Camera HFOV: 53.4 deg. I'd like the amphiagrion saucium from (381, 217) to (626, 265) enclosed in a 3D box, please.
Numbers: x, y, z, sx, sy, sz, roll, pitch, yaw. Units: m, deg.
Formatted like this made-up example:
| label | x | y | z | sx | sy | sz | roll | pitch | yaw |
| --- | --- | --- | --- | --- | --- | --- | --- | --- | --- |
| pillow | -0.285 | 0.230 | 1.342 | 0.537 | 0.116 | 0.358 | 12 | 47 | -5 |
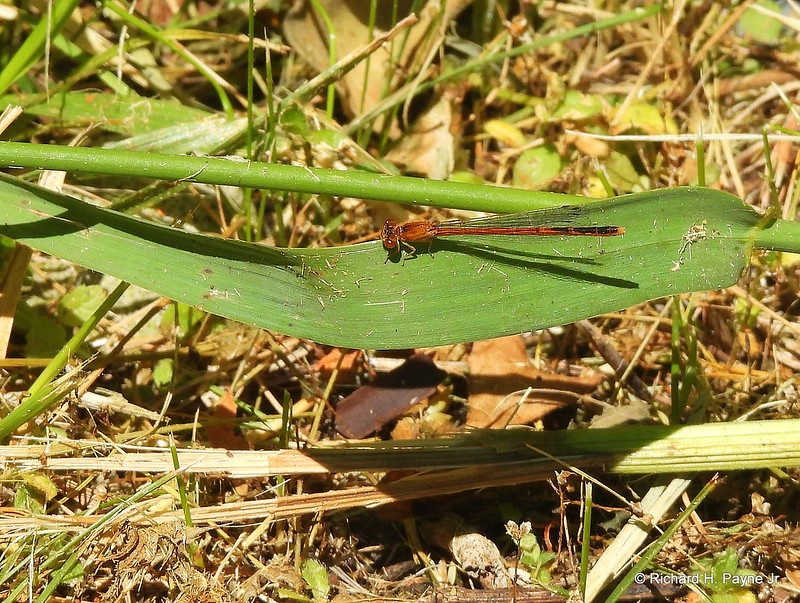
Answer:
| label | x | y | z | sx | sy | sz | roll | pitch | yaw |
| --- | --- | --- | --- | --- | --- | --- | --- | --- | --- |
| amphiagrion saucium | 0.204 | -0.131 | 1.867 | 0.628 | 0.138 | 0.133 | 5 | 14 | 35 |
